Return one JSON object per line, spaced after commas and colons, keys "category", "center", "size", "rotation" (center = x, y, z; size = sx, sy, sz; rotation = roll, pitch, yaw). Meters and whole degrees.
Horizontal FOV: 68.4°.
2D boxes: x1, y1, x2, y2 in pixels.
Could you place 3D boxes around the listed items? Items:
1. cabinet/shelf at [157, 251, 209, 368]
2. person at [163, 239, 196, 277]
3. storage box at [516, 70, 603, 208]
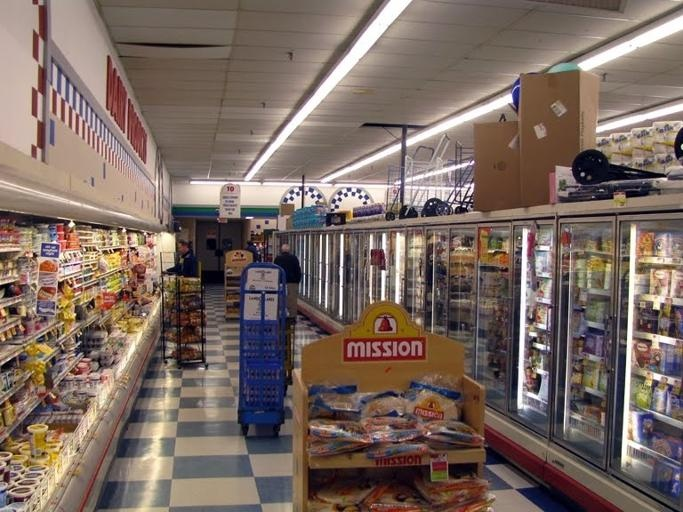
{"category": "cabinet/shelf", "center": [-2.783, 0.863, 8.862], "size": [0.771, 1.648, 2.776], "rotation": [-5, 7, -19]}
{"category": "person", "center": [-3.148, 0.146, 9.958], "size": [0.677, 0.921, 0.431], "rotation": [14, 19, 24]}
{"category": "storage box", "center": [2.120, -1.187, 5.053], "size": [0.846, 1.354, 0.924], "rotation": [4, 11, 34]}
